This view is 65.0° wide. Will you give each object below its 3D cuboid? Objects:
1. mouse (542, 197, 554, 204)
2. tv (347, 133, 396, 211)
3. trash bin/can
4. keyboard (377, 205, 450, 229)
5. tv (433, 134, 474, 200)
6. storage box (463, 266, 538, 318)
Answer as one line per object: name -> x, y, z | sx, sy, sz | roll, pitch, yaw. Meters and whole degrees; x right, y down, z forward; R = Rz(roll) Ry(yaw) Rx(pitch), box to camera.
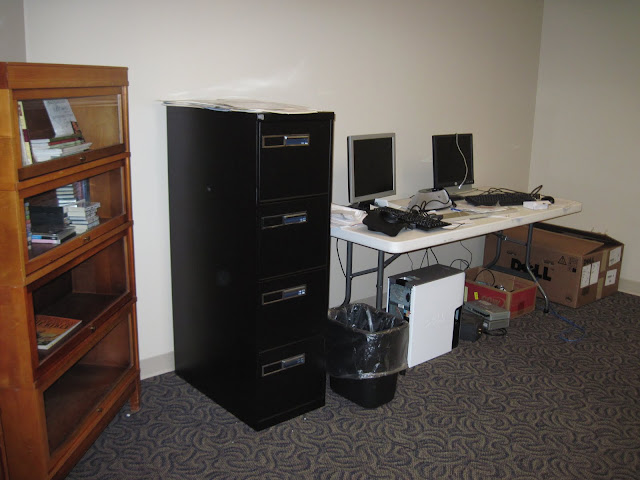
mouse -> 1.678, -0.303, 3.721 | 0.072, 0.037, 0.104 | 6, 13, 41
tv -> 0.342, -0.468, 3.390 | 0.461, 0.466, 0.165 | -18, 19, -42
trash bin/can -> 0.253, 0.655, 3.078 | 0.450, 0.473, 0.561 | -9, 13, -38
keyboard -> 0.598, -0.170, 3.025 | 0.334, 0.059, 0.181 | -5, 20, -45
tv -> 0.992, -0.562, 3.781 | 0.455, 0.453, 0.145 | -12, 17, -35
storage box -> 1.428, 0.393, 3.948 | 0.384, 0.249, 0.529 | -8, 16, -40
